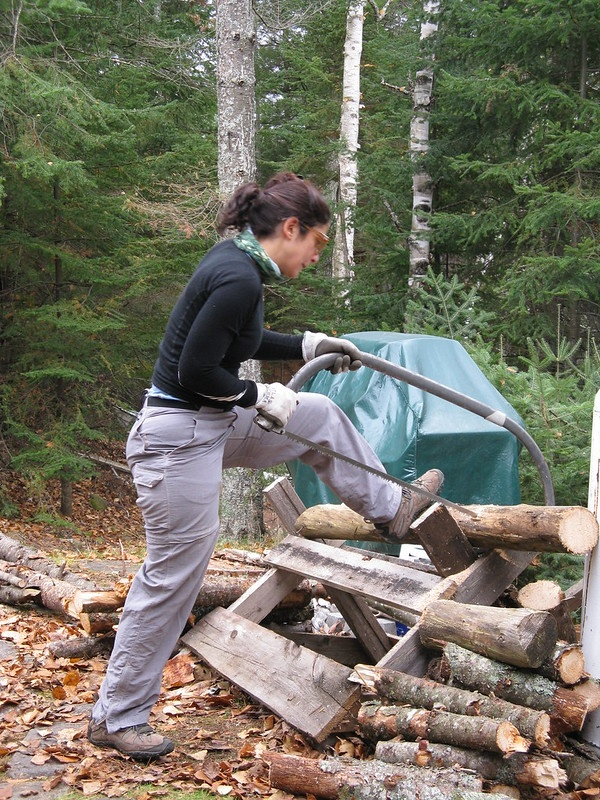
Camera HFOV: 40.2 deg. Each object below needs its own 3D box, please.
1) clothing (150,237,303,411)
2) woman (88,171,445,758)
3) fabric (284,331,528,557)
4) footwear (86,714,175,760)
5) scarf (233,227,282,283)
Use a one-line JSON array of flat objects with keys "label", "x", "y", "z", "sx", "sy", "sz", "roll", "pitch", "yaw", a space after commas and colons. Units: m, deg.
[{"label": "clothing", "x": -0.346, "y": -0.309, "z": 3.442, "sx": 0.454, "sy": 0.747, "sz": 0.404, "roll": 2, "pitch": 7, "yaw": -21}, {"label": "woman", "x": -0.291, "y": 0.267, "z": 3.692, "sx": 1.097, "sy": 2.576, "sz": 0.543, "roll": -1, "pitch": 9, "yaw": -41}, {"label": "fabric", "x": 1.259, "y": 0.306, "z": 6.970, "sx": 2.090, "sy": 1.442, "sz": 1.972, "roll": -2, "pitch": 3, "yaw": -28}, {"label": "footwear", "x": -0.791, "y": 1.471, "z": 3.606, "sx": 0.426, "sy": 0.148, "sz": 0.139, "roll": 6, "pitch": -1, "yaw": 8}, {"label": "scarf", "x": -0.144, "y": -0.605, "z": 3.528, "sx": 0.108, "sy": 0.212, "sz": 0.186, "roll": -33, "pitch": 32, "yaw": 5}]
